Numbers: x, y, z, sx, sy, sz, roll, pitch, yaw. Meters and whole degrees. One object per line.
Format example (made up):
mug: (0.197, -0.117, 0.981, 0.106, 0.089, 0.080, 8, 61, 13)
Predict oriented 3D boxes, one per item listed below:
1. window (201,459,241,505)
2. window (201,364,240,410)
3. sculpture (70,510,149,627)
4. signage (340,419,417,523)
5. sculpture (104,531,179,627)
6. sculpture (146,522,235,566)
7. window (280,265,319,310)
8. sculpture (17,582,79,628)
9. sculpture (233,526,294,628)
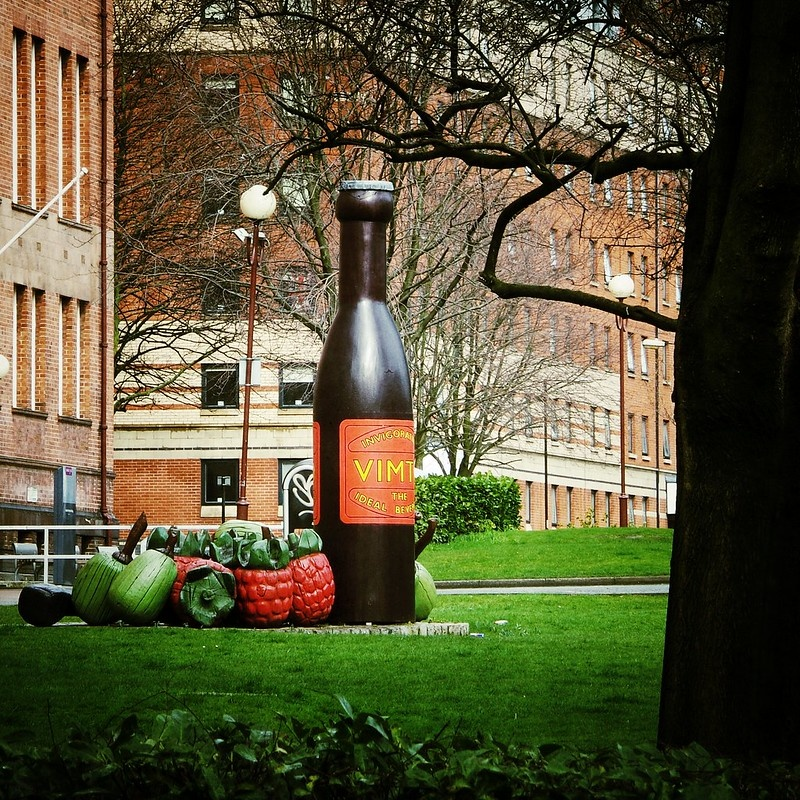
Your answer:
window: (-5.009, 2.309, 48.303, 1.407, 1.708, 0.116, -1, -9, 13)
window: (-4.950, -0.400, 47.149, 1.231, 1.168, 0.135, 0, 12, -7)
sculpture: (-2.322, 1.339, 13.904, 0.398, 0.986, 0.431, 27, -3, 6)
signage: (-0.219, 0.610, 14.159, 0.729, 1.119, 0.627, 3, -6, -26)
sculpture: (-2.027, 1.403, 13.541, 0.522, 0.747, 0.443, 2, -7, -10)
sculpture: (-1.610, 1.160, 13.712, 0.440, 0.218, 0.407, -1, -9, 2)
window: (-1.763, -1.987, 30.279, 0.515, 0.545, 0.979, 19, -6, 0)
sculpture: (-2.893, 1.666, 14.052, 0.332, 0.312, 0.432, 4, -2, 32)
sculpture: (-1.063, 1.439, 13.475, 0.461, 0.683, 0.545, 1, -7, -6)
